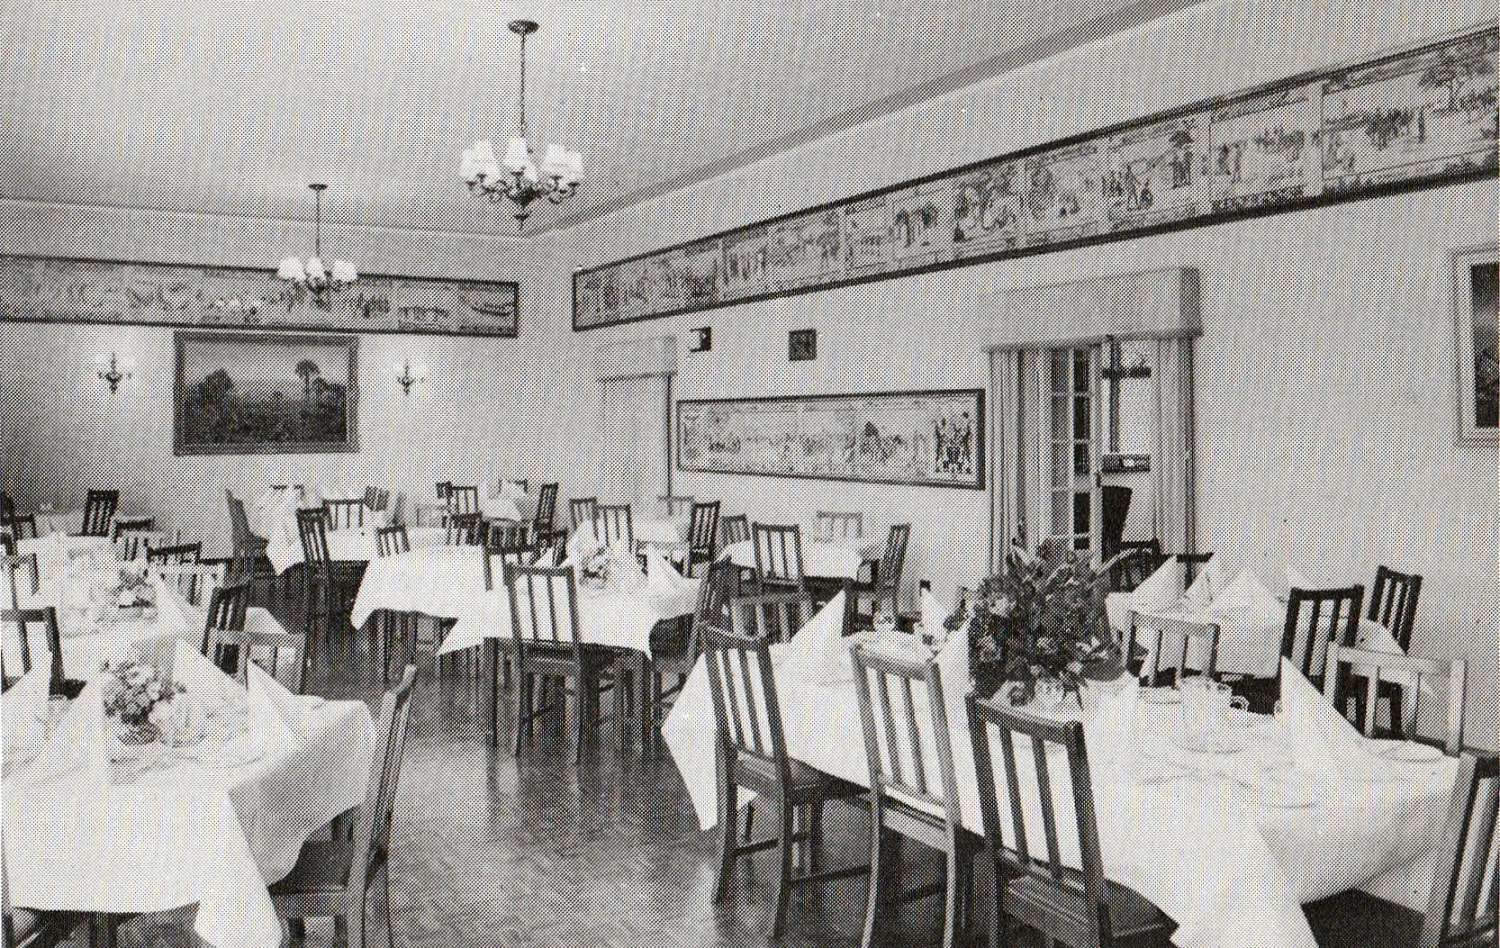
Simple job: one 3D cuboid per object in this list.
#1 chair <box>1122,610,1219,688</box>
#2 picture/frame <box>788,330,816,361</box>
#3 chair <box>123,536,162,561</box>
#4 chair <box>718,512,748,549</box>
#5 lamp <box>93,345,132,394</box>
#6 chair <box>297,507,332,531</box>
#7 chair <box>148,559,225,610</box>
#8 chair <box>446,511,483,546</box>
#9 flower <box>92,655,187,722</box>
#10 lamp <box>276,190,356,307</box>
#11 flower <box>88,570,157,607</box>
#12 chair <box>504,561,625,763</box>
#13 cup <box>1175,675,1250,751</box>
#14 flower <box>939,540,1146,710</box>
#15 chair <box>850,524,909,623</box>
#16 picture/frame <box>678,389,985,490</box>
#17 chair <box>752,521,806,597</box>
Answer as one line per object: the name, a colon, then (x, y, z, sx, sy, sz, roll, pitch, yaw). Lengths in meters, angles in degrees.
chair: (2.320, 0.966, 6.103, 0.322, 0.641, 0.328, -13, 14, -33)
picture/frame: (0.541, -1.327, 11.387, 0.308, 0.310, 0.111, -2, -5, 43)
chair: (-4.828, 0.589, 8.728, 0.165, 0.179, 0.164, 2, -2, -14)
chair: (-0.169, 0.544, 10.756, 0.254, 0.463, 0.299, 1, -1, -22)
lamp: (-7.931, -1.287, 13.669, 0.561, 0.753, 0.163, 3, -4, -38)
chair: (-4.224, 0.432, 10.660, 0.185, 0.259, 0.167, 0, 13, -20)
chair: (-3.639, 0.716, 7.104, 0.256, 0.492, 0.295, 1, -7, 2)
chair: (-2.848, 0.559, 10.941, 0.308, 0.579, 0.342, 0, 6, -26)
flower: (-2.784, 0.985, 5.043, 0.291, 0.251, 0.135, 7, -12, -11)
lamp: (-5.045, -2.706, 12.913, 0.808, 1.326, 0.787, -5, 18, -33)
flower: (-3.813, 0.684, 6.678, 0.212, 0.118, 0.293, 5, 2, 13)
chair: (-1.326, 1.221, 7.676, 0.696, 1.249, 1.064, 0, 2, -4)
cup: (2.034, 1.059, 4.991, 0.286, 0.364, 0.306, -1, -4, 0)
flower: (1.372, 0.691, 5.316, 0.869, 0.804, 0.674, -1, -3, -21)
chair: (1.146, 0.882, 9.777, 0.467, 0.885, 1.156, 0, 2, 8)
picture/frame: (0.720, -0.353, 11.260, 0.104, 0.931, 4.083, -2, 2, -40)
chair: (0.246, 0.740, 9.914, 0.474, 0.601, 1.115, 0, 2, 1)
